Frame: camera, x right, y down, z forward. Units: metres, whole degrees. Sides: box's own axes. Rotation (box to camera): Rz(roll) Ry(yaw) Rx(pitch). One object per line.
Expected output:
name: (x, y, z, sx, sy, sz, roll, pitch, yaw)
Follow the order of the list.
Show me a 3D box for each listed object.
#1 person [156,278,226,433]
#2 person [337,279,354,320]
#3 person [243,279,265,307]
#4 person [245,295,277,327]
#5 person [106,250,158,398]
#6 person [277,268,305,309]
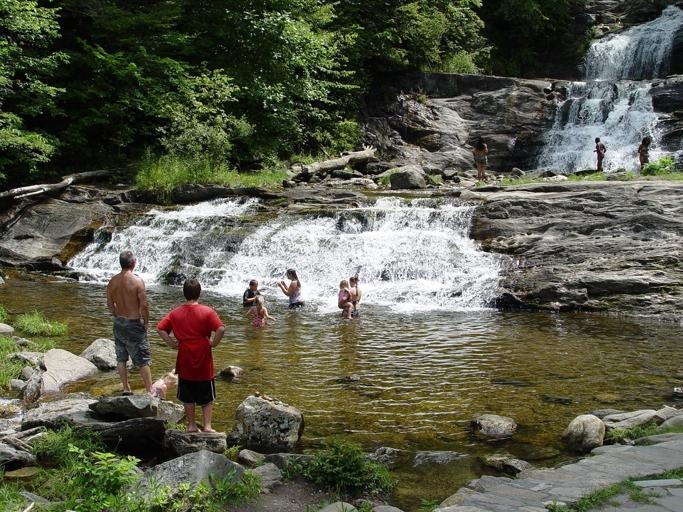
person: (-2.093, 1.370, 8.643, 0.893, 2.123, 0.365, 2, 3, -4)
person: (0.116, 1.002, 14.956, 0.372, 0.852, 0.782, 2, 2, -1)
person: (-2.242, 0.947, 15.952, 0.557, 0.779, 0.529, 14, 20, 29)
person: (-1.833, 1.204, 14.262, 0.634, 0.722, 1.189, 2, 2, -6)
person: (-3.304, 1.051, 9.742, 0.684, 2.277, 0.681, 2, 3, -18)
person: (-1.254, 0.795, 15.741, 0.629, 0.978, 0.759, 2, 2, -5)
